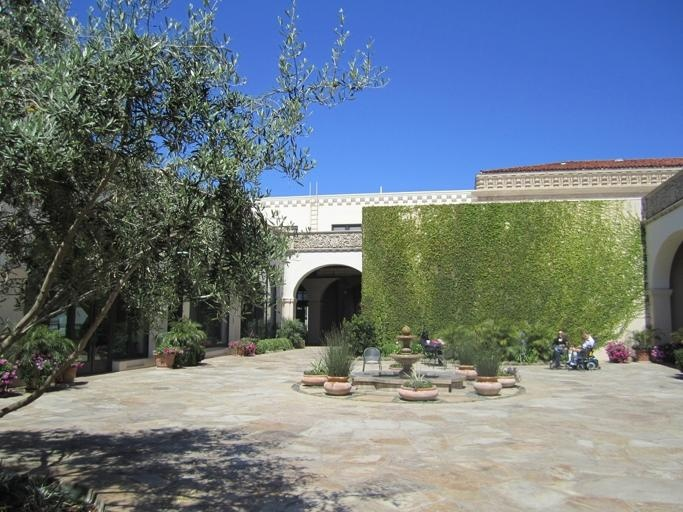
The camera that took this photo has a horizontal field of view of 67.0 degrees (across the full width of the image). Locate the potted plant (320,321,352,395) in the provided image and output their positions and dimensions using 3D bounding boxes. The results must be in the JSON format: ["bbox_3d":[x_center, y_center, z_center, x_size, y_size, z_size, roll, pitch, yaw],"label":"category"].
[{"bbox_3d":[-0.186,2.532,12.826,0.914,1.773,0.786,-10,-19,36],"label":"potted plant"}]

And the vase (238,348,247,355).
[{"bbox_3d":[-4.312,4.199,22.582,0.396,0.413,0.228,-1,-11,9],"label":"vase"}]

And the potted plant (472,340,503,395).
[{"bbox_3d":[3.629,2.818,12.763,0.612,1.061,1.199,0,-4,18],"label":"potted plant"}]

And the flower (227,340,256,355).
[{"bbox_3d":[-4.283,4.047,22.749,0.861,0.503,0.902,-2,-7,19],"label":"flower"}]

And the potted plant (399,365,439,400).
[{"bbox_3d":[1.791,3.005,11.967,0.871,0.589,0.915,-1,-2,12],"label":"potted plant"}]

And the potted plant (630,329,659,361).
[{"bbox_3d":[11.866,3.463,20.244,0.989,1.203,1.156,8,-11,-14],"label":"potted plant"}]

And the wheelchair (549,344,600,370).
[{"bbox_3d":[8.411,3.635,18.510,1.731,1.022,0.885,1,-9,18],"label":"wheelchair"}]

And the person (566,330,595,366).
[{"bbox_3d":[8.458,3.308,18.182,0.869,1.261,0.722,2,-4,-14],"label":"person"}]

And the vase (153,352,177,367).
[{"bbox_3d":[-5.926,3.486,17.371,0.536,0.390,0.559,1,-14,-4],"label":"vase"}]

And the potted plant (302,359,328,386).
[{"bbox_3d":[-0.687,3.109,13.680,0.729,0.675,0.760,1,-10,-1],"label":"potted plant"}]

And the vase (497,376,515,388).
[{"bbox_3d":[4.343,3.278,13.542,0.402,0.248,0.419,-2,-4,19],"label":"vase"}]
